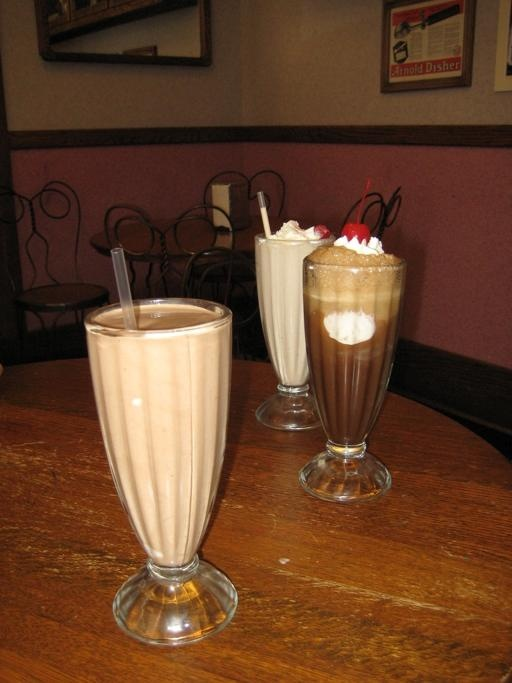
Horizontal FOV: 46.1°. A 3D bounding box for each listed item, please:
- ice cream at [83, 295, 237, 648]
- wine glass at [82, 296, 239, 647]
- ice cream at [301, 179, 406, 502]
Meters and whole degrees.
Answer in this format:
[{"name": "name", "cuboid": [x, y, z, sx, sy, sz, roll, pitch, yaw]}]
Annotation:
[{"name": "ice cream", "cuboid": [-0.058, 0.096, 0.478, 0.137, 0.238, 0.124, -1, 15, -5]}, {"name": "wine glass", "cuboid": [-0.066, 0.089, 0.466, 0.106, 0.233, 0.157, -3, 20, -1]}, {"name": "ice cream", "cuboid": [0.101, 0.024, 0.680, 0.104, 0.295, 0.100, -3, 16, -10]}]
